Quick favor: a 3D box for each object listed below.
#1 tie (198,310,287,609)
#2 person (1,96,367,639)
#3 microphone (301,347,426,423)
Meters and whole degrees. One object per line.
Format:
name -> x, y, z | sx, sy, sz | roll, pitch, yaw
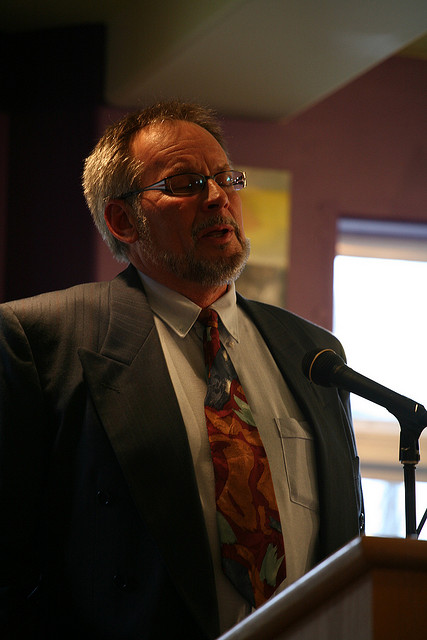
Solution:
tie -> 0.039, 0.228, 1.059 | 0.093, 0.036, 0.438 | 4, 43, -16
person -> -0.021, 0.018, 1.110 | 0.610, 0.887, 0.558 | 6, 6, 14
microphone -> 0.210, 0.083, 0.924 | 0.059, 0.053, 0.214 | -22, 18, -21
